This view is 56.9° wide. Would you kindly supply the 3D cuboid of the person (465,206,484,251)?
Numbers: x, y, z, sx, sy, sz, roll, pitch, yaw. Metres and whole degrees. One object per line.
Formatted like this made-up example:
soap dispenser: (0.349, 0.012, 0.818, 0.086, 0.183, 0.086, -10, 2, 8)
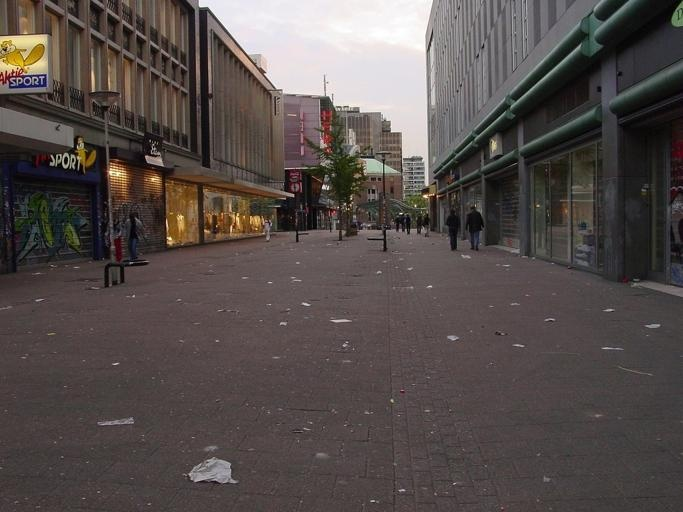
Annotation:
person: (5.272, -1.106, 25.107, 0.599, 1.841, 1.106, 1, 8, 10)
